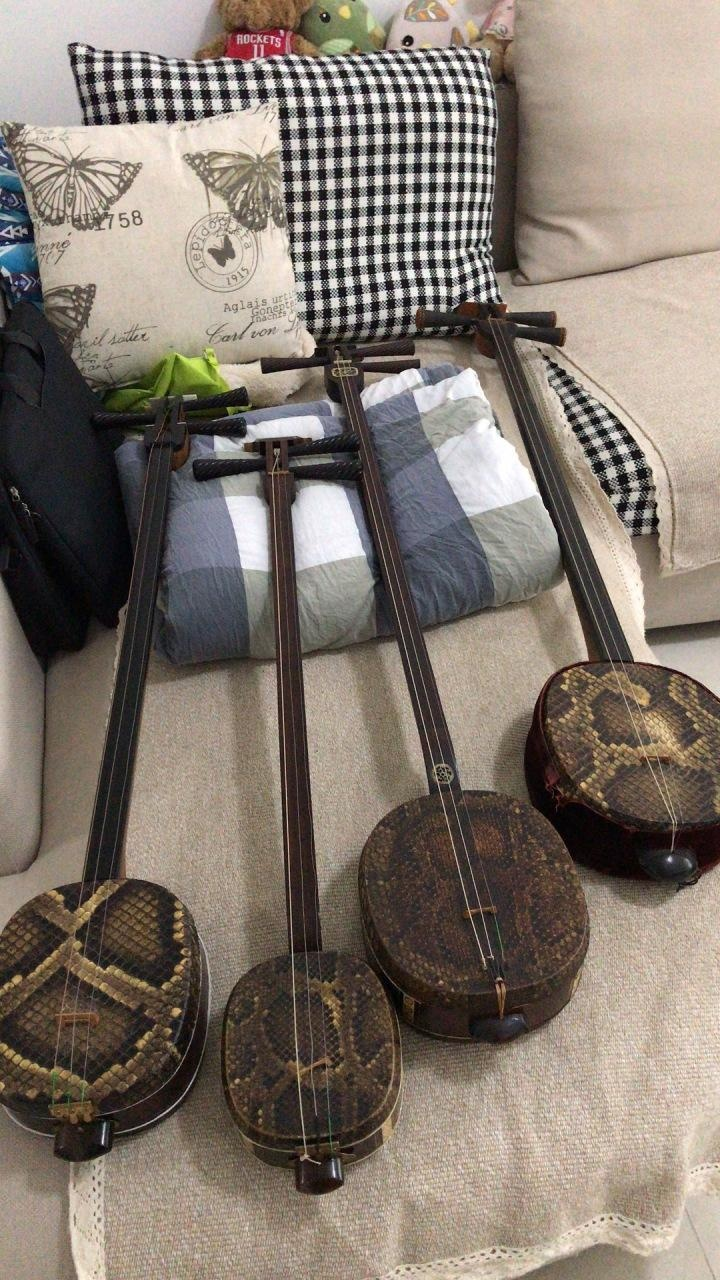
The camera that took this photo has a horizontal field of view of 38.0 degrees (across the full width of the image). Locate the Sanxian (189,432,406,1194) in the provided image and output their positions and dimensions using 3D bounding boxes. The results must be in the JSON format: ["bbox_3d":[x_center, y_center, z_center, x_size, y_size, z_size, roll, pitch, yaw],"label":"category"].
[{"bbox_3d":[-0.066,0.128,1.112,0.154,0.092,0.710,-4,48,-1],"label":"Sanxian"}]
